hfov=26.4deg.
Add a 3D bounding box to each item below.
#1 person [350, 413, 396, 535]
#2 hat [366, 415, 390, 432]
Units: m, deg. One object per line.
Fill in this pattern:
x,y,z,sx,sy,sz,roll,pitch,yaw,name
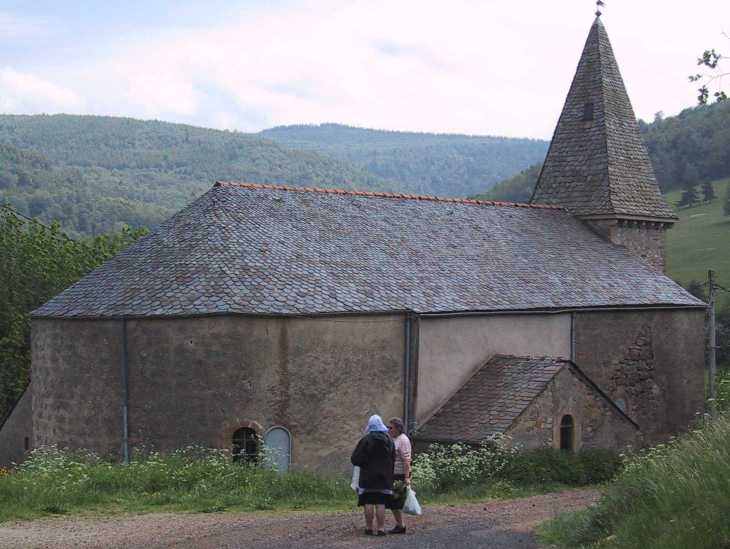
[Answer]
0.390,7.209,56.161,1.447,4.272,0.668,1,-4,0,person
0.488,5.348,56.482,0.746,0.729,0.790,-2,-10,4,hat
